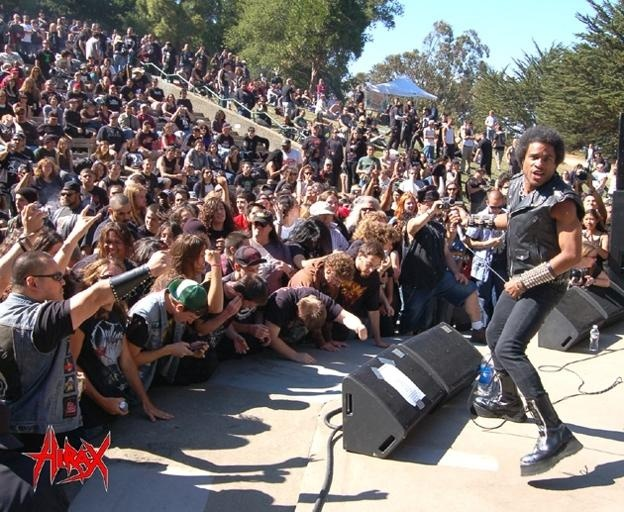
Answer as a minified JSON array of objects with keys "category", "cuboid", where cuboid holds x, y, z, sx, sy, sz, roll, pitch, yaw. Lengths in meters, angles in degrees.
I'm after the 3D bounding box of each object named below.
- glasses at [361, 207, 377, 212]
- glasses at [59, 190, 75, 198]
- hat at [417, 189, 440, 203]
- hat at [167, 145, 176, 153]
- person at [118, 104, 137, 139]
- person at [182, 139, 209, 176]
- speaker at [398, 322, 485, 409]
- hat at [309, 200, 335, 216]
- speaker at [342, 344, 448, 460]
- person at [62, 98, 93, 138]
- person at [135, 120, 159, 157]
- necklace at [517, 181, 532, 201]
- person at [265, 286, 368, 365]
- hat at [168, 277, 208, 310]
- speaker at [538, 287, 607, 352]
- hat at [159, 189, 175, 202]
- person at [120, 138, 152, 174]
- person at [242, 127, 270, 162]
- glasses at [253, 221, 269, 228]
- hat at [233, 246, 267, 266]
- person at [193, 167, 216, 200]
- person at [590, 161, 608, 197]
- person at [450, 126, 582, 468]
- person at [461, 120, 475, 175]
[{"category":"glasses","cuboid":[0.816,-0.645,7.322,0.270,0.047,0.110,-7,13,-32]},{"category":"glasses","cuboid":[-3.012,-0.756,6.547,0.175,0.060,0.180,1,2,-2]},{"category":"hat","cuboid":[1.582,-0.816,7.271,0.334,0.168,0.462,-5,13,11]},{"category":"hat","cuboid":[-2.939,-2.214,11.128,0.166,0.140,0.203,-3,11,-14]},{"category":"person","cuboid":[-4.416,-3.214,12.911,0.438,0.891,0.546,-5,-4,-21]},{"category":"person","cuboid":[-2.500,-2.173,11.837,0.592,0.748,0.588,-1,-9,17]},{"category":"speaker","cuboid":[0.936,0.941,4.559,0.494,0.547,0.729,-42,-28,29]},{"category":"hat","cuboid":[0.123,-0.600,6.874,0.283,0.164,0.300,-2,11,-7]},{"category":"speaker","cuboid":[0.574,0.796,3.794,0.568,0.650,0.949,5,12,33]},{"category":"person","cuboid":[-5.446,-3.170,12.337,0.612,0.886,0.763,-5,12,-24]},{"category":"person","cuboid":[-3.826,-2.732,12.524,0.568,0.795,0.630,-8,25,-32]},{"category":"necklace","cuboid":[1.470,-0.454,3.682,0.027,0.113,0.081,8,-9,9]},{"category":"person","cuboid":[0.000,0.701,5.404,0.969,0.762,0.706,3,11,15]},{"category":"hat","cuboid":[-0.933,0.314,3.999,0.267,0.280,0.263,-2,11,-7]},{"category":"speaker","cuboid":[2.578,0.663,5.301,0.398,0.374,0.688,16,16,39]},{"category":"hat","cuboid":[-2.114,-0.835,7.781,0.167,0.138,0.241,-22,-40,4]},{"category":"person","cuboid":[-3.593,-2.049,10.997,0.664,0.708,0.530,11,20,32]},{"category":"person","cuboid":[-1.590,-3.068,14.595,0.736,1.017,0.836,-4,6,1]},{"category":"glasses","cuboid":[-0.565,-0.361,6.108,0.084,0.040,0.122,3,-6,19]},{"category":"hat","cuboid":[-0.644,0.002,5.350,0.176,0.156,0.276,-2,-10,-41]},{"category":"person","cuboid":[-1.981,-1.332,9.761,0.418,0.538,0.745,-2,11,-10]},{"category":"person","cuboid":[9.505,-2.646,17.585,0.435,0.977,1.494,5,12,27]},{"category":"person","cuboid":[1.486,0.237,3.590,0.583,2.183,1.057,1,11,5]},{"category":"person","cuboid":[5.831,-4.061,19.842,0.662,1.810,0.569,-5,9,-32]}]
